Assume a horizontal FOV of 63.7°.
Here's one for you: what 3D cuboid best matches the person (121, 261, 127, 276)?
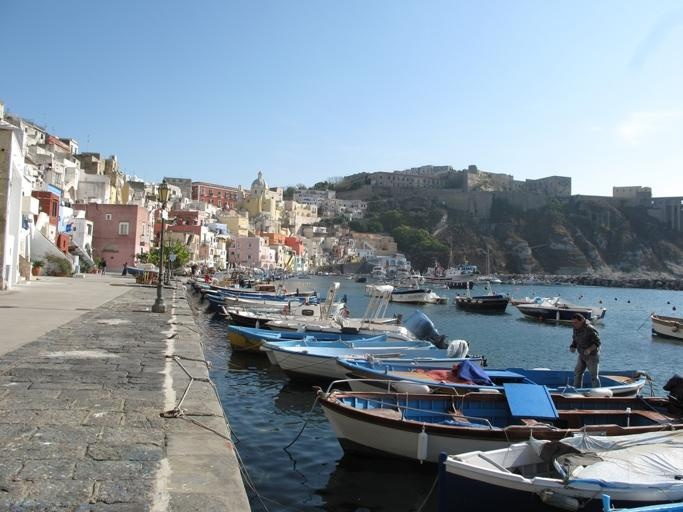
[{"bbox_3d":[-21.762,1.153,55.198,0.505,1.271,1.208,3,4,12],"label":"person"}]

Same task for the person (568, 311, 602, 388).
[{"bbox_3d":[6.039,2.296,13.582,0.765,1.832,1.092,6,1,23],"label":"person"}]
